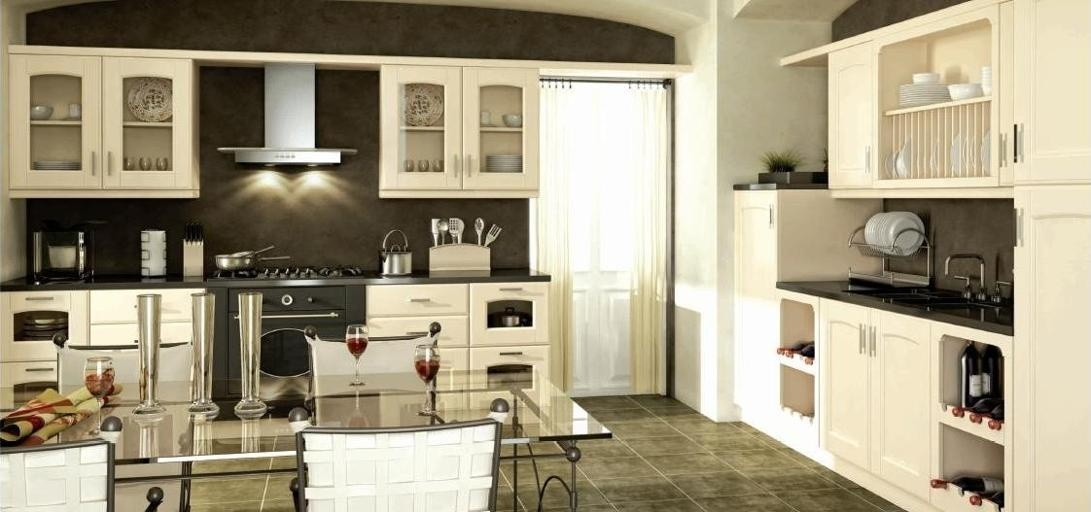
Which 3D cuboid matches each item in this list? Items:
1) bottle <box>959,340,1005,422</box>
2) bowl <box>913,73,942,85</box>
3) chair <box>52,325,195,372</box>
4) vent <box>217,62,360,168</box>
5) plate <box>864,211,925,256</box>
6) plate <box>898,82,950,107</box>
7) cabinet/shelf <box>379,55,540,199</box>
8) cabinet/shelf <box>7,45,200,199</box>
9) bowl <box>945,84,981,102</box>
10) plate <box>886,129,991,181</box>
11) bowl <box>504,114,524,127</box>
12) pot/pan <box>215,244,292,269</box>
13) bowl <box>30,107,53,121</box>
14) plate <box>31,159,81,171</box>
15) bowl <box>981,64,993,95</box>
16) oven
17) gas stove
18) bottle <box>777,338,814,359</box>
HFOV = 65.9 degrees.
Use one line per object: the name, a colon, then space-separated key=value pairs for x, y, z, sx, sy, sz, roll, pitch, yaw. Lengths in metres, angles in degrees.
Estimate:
bottle: x=3.513 y=0.999 z=6.799 sx=0.317 sy=0.591 sz=0.398 roll=-2 pitch=6 yaw=24
bowl: x=3.353 y=-1.554 z=7.411 sx=0.181 sy=0.055 sz=0.149 roll=0 pitch=3 yaw=0
chair: x=-3.166 y=0.795 z=6.603 sx=0.776 sy=0.408 sz=0.356 roll=3 pitch=22 yaw=-16
vent: x=-2.713 y=-1.402 z=8.898 sx=1.863 sy=1.029 sz=1.064 roll=0 pitch=3 yaw=-3
plate: x=3.200 y=-0.199 z=7.715 sx=0.522 sy=0.391 sz=0.316 roll=-2 pitch=5 yaw=18
plate: x=3.318 y=-1.412 z=7.415 sx=0.302 sy=0.099 sz=0.297 roll=2 pitch=5 yaw=40
cabinet/shelf: x=-0.923 y=-1.315 z=8.573 sx=2.000 sy=1.202 sz=0.647 roll=0 pitch=-1 yaw=-8
cabinet/shelf: x=-4.373 y=-1.312 z=8.171 sx=2.081 sy=1.251 sz=0.674 roll=0 pitch=-1 yaw=-8
bowl: x=3.556 y=-1.389 z=7.168 sx=0.217 sy=0.075 sz=0.207 roll=-1 pitch=1 yaw=0
plate: x=3.421 y=-0.864 z=7.240 sx=0.236 sy=0.380 sz=0.889 roll=-7 pitch=6 yaw=-27
bowl: x=-0.340 y=-1.382 z=8.655 sx=0.170 sy=0.073 sz=0.155 roll=0 pitch=-2 yaw=0
pot/pan: x=-2.999 y=0.010 z=8.414 sx=0.537 sy=0.140 sz=0.280 roll=-2 pitch=2 yaw=-13
bowl: x=-4.877 y=-1.374 z=8.116 sx=0.184 sy=0.068 sz=0.157 roll=-1 pitch=-3 yaw=-3
plate: x=-4.746 y=-0.876 z=8.143 sx=0.439 sy=0.118 sz=0.047 roll=-3 pitch=5 yaw=-5
bowl: x=3.658 y=-1.447 z=6.981 sx=0.086 sy=0.250 sz=0.422 roll=-2 pitch=5 yaw=27
oven: x=-2.450 y=0.844 z=8.133 sx=1.720 sy=0.898 sz=0.781 roll=-1 pitch=0 yaw=-17
gas stove: x=-2.530 y=0.356 z=8.311 sx=1.430 sy=0.369 sz=0.409 roll=-4 pitch=5 yaw=-13
bottle: x=2.376 y=0.891 z=8.013 sx=0.332 sy=0.119 sz=0.316 roll=-3 pitch=5 yaw=0
